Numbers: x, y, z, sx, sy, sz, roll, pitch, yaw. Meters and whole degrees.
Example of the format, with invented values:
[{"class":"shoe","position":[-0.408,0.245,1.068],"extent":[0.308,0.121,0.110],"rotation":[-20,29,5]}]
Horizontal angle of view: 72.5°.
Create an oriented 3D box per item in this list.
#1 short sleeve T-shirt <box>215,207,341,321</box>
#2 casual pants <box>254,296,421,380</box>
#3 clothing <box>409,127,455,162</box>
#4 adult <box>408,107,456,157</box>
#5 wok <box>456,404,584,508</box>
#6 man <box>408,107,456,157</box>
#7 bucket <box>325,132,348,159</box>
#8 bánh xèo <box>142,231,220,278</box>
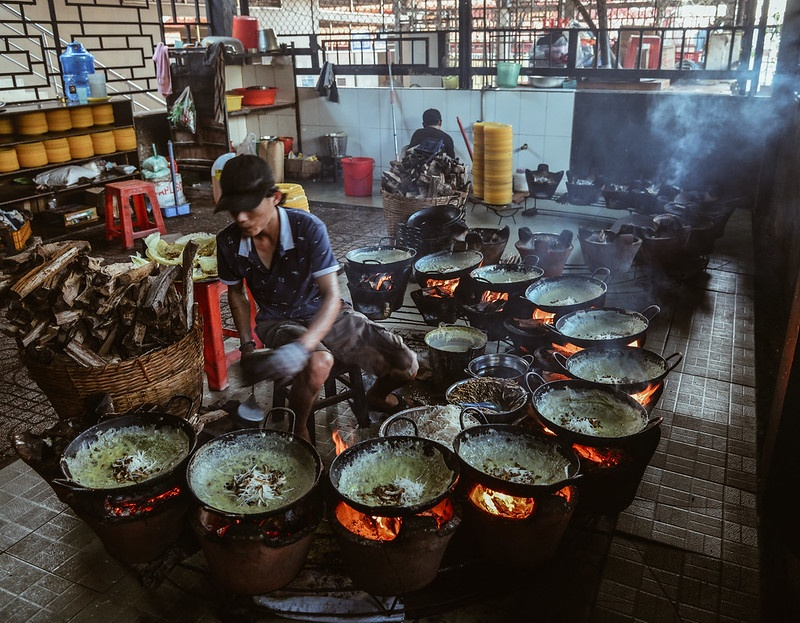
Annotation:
[{"class":"short sleeve T-shirt","position":[-0.860,-0.342,3.913],"extent":[0.905,0.731,0.448],"rotation":[-6,11,10]},{"class":"casual pants","position":[-0.350,0.228,3.878],"extent":[0.869,0.217,0.542],"rotation":[22,-29,-33]},{"class":"clothing","position":[0.482,-2.544,8.243],"extent":[0.771,0.261,0.703],"rotation":[10,60,15]},{"class":"adult","position":[0.487,-2.765,8.564],"extent":[0.983,0.763,0.493],"rotation":[8,8,29]},{"class":"wok","position":[0.624,0.756,2.913],"extent":[0.533,0.144,0.397],"rotation":[12,25,30]},{"class":"man","position":[0.502,-2.768,8.544],"extent":[0.961,0.756,0.482],"rotation":[7,11,31]},{"class":"bucket","position":[-1.345,-3.441,11.272],"extent":[0.560,0.404,0.543],"rotation":[-2,32,1]},{"class":"bánh xèo","position":[-1.785,-0.483,4.597],"extent":[0.612,0.213,0.509],"rotation":[20,25,34]}]
